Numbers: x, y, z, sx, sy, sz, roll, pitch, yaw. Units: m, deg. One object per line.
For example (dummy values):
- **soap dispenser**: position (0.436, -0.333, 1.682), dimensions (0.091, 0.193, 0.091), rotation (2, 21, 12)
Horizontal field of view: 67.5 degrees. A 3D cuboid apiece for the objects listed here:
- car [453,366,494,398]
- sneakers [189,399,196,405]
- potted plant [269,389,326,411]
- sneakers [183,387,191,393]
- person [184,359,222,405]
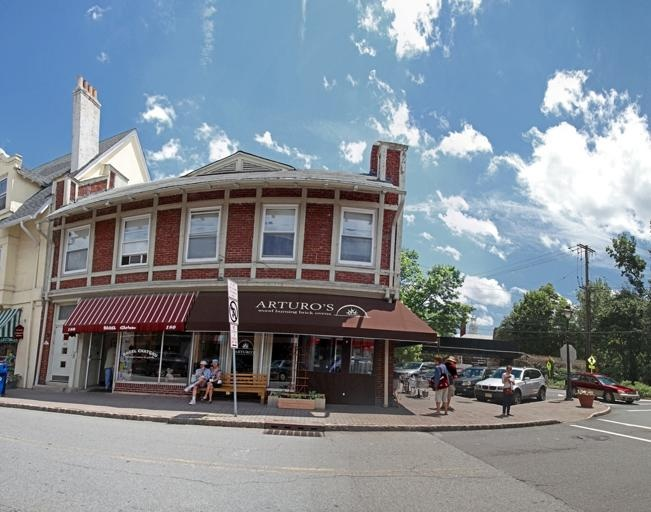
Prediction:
- **car**: position (7.907, 6.712, 26.078), dimensions (1.254, 1.010, 2.196), rotation (-13, -20, 39)
- **sneakers**: position (-4.296, 4.745, 15.814), dimensions (0.204, 0.146, 0.377), rotation (5, -9, -13)
- **potted plant**: position (-0.929, 4.714, 15.909), dimensions (1.880, 0.491, 1.326), rotation (2, -9, 3)
- **sneakers**: position (-4.573, 4.497, 16.149), dimensions (0.217, 0.108, 0.297), rotation (-1, 0, -1)
- **person**: position (-4.068, 4.251, 16.622), dimensions (1.027, 1.399, 1.702), rotation (5, -9, -11)
